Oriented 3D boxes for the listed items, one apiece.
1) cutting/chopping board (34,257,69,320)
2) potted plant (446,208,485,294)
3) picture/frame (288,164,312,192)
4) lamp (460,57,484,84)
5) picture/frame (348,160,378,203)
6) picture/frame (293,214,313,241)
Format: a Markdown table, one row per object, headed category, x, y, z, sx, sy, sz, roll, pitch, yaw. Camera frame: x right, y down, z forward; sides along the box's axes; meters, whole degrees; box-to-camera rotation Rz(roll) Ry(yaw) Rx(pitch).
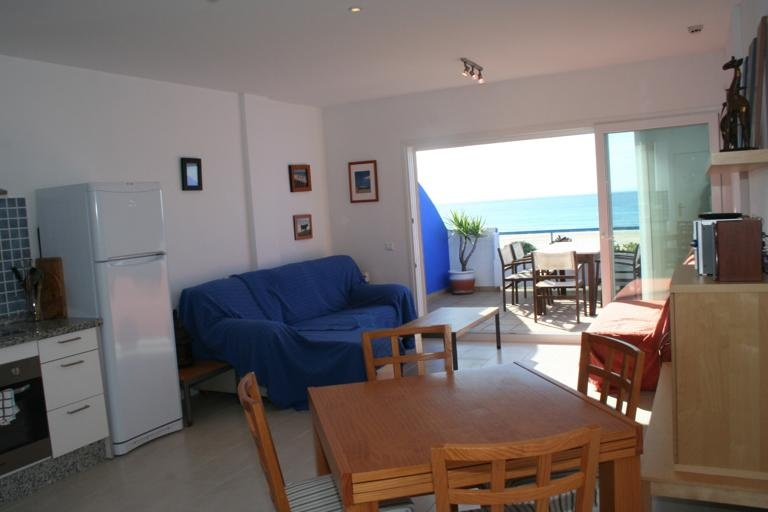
| category | x | y | z | sx | sy | sz | roll | pitch | yaw |
| --- | --- | --- | --- | --- | --- | --- | --- | --- | --- |
| cutting/chopping board | -2.832 | 0.274 | 4.473 | 0.058 | 0.532 | 0.194 | 5 | 7 | 22 |
| potted plant | 1.556 | -0.118 | 9.983 | 0.746 | 1.491 | 0.885 | -4 | 8 | 10 |
| picture/frame | -1.095 | -1.011 | 6.815 | 0.026 | 0.350 | 0.369 | 1 | 7 | 36 |
| lamp | 0.913 | -1.981 | 5.599 | 0.281 | 0.136 | 0.250 | 21 | 13 | -16 |
| picture/frame | -0.285 | -0.993 | 7.084 | 0.417 | 0.521 | 0.028 | 0 | 8 | 26 |
| picture/frame | -1.060 | -0.379 | 6.854 | 0.023 | 0.315 | 0.335 | 0 | 4 | 33 |
